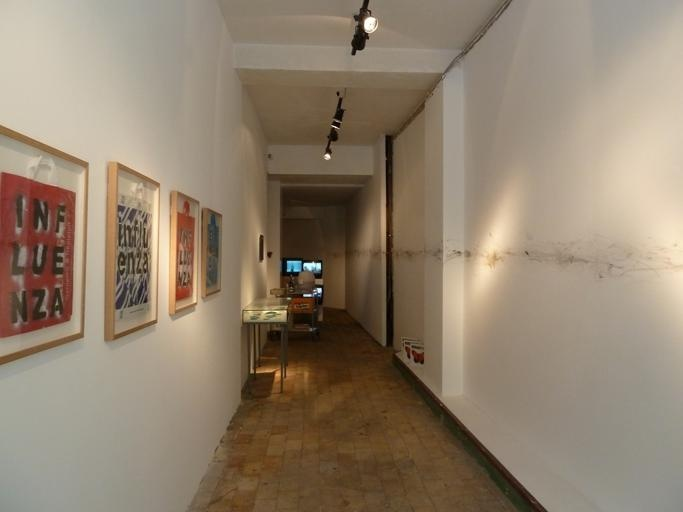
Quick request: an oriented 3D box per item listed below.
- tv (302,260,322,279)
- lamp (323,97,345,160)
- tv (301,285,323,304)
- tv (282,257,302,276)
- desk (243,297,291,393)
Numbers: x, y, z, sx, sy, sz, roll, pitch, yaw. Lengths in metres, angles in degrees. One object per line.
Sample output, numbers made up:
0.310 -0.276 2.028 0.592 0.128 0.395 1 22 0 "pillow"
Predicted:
-0.744 0.266 12.135 0.578 0.667 0.351 1 -4 -9 "tv"
-0.050 -1.726 6.429 0.149 0.335 1.013 -5 -40 -14 "lamp"
-0.534 0.820 10.325 0.558 0.471 0.594 -1 4 11 "tv"
-1.215 0.253 11.593 0.561 0.594 0.338 1 -3 -5 "tv"
-0.913 1.010 5.857 0.518 1.068 1.622 -1 5 -7 "desk"
